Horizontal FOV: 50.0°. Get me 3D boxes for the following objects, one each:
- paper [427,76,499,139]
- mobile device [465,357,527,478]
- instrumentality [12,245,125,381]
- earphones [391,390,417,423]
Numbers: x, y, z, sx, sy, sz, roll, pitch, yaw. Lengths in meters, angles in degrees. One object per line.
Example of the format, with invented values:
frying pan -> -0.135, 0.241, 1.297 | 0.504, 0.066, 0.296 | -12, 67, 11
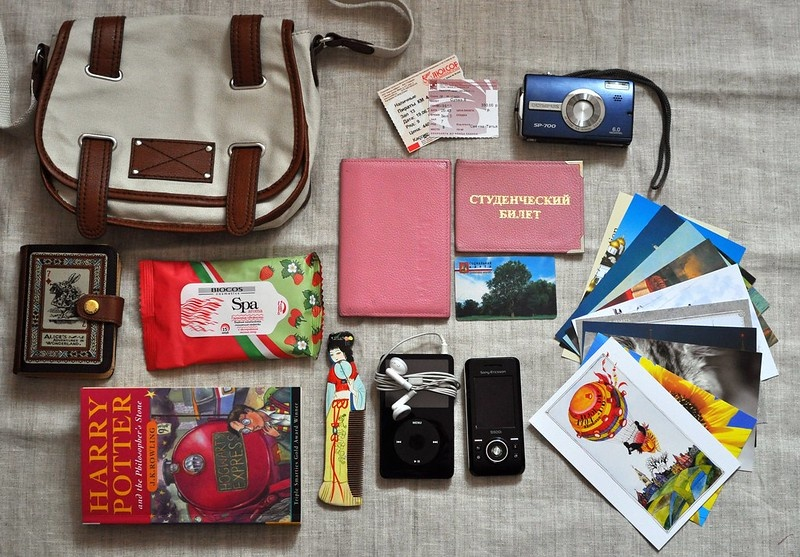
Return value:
paper -> 0.133, -0.374, 1.886 | 0.129, 0.014, 0.116 | 0, 87, 1
mobile device -> 0.202, 0.292, 1.816 | 0.124, 0.054, 0.244 | -3, 85, 3
instrumentality -> -0.710, 0.071, 1.820 | 0.218, 0.099, 0.293 | 0, 89, -5
earphones -> 0.009, 0.266, 1.818 | 0.055, 0.023, 0.058 | -23, 41, 31
